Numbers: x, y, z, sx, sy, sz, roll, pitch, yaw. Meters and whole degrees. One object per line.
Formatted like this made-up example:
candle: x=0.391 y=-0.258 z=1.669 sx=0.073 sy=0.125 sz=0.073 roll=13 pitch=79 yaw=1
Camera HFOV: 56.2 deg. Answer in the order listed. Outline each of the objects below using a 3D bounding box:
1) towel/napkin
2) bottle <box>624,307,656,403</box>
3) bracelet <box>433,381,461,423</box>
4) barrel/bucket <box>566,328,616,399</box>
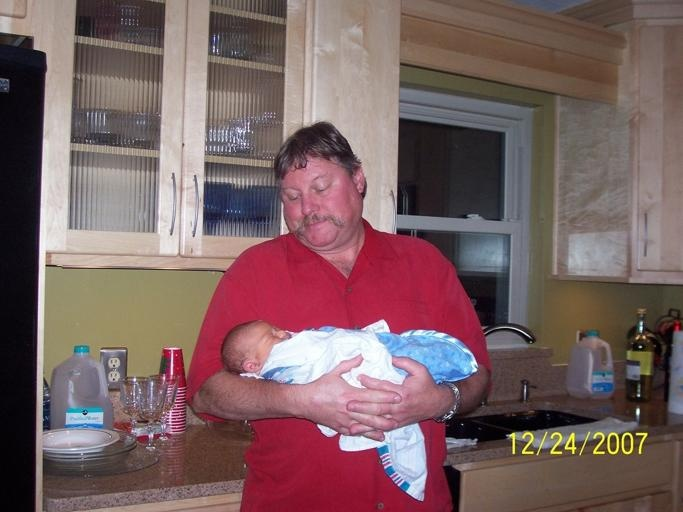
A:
towel/napkin: x=0.980 y=0.743 z=2.663 sx=0.678 sy=0.069 sz=0.164 roll=1 pitch=-3 yaw=-31
bottle: x=1.572 y=0.522 z=3.379 sx=0.133 sy=0.469 sz=0.181 roll=-2 pitch=-3 yaw=22
bracelet: x=0.303 y=0.427 z=1.887 sx=0.098 sy=0.109 sz=0.042 roll=2 pitch=-1 yaw=-33
barrel/bucket: x=1.315 y=0.576 z=3.391 sx=0.234 sy=0.351 sz=0.091 roll=-1 pitch=-3 yaw=18
